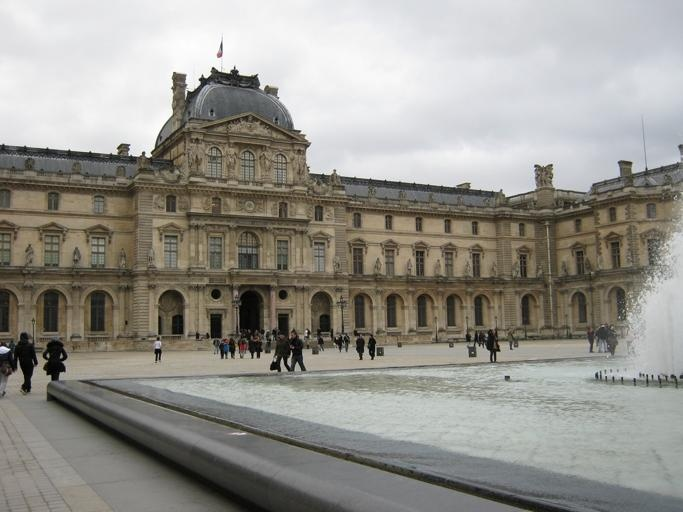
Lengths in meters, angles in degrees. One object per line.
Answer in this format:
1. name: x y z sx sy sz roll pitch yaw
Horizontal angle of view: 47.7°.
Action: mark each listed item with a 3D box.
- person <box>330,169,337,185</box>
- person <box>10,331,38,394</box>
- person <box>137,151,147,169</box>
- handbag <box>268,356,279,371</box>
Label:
1. person: -0.639 -7.305 73.516 0.632 1.439 0.579 -3 -8 13
2. person: -9.957 3.389 24.457 0.550 1.888 1.002 2 -8 -24
3. person: -16.540 -7.794 64.713 0.714 1.502 1.110 1 -8 -15
4. handbag: -2.685 4.445 31.588 0.351 0.537 0.732 -1 -8 -4
